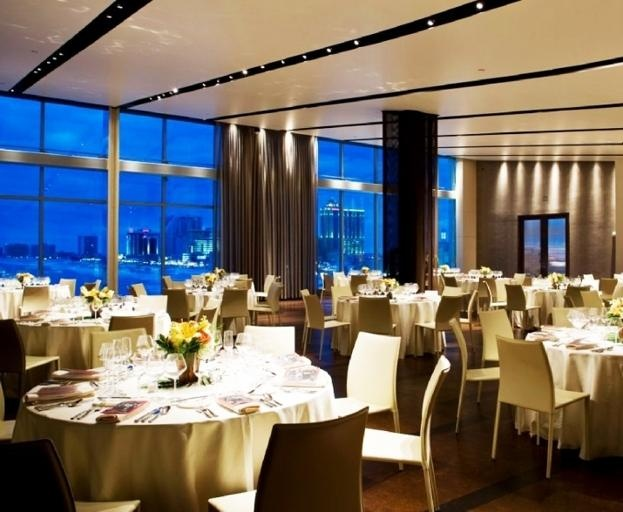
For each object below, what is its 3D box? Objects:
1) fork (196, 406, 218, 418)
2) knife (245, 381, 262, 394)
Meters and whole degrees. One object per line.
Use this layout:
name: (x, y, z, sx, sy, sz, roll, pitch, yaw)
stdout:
fork: (-0.569, 0.847, 2.790, 0.074, 0.020, 0.172, 9, 4, -38)
knife: (-0.357, 0.818, 3.196, 0.023, 0.029, 0.093, 10, 41, 38)
